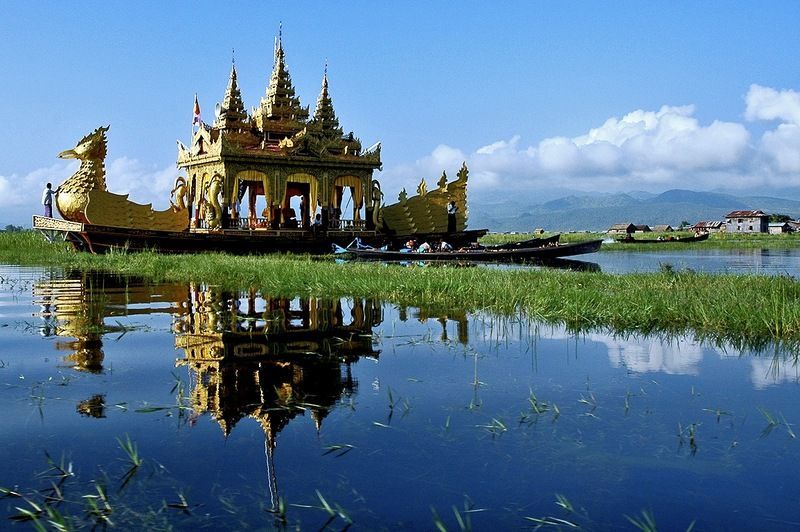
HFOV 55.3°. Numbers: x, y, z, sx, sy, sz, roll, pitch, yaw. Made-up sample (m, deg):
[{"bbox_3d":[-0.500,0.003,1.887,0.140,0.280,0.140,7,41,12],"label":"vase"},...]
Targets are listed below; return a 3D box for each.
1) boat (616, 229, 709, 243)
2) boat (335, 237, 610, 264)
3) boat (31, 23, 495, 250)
[{"bbox_3d":[22.450,-2.283,64.819,5.850,0.819,11.573,4,8,30],"label":"boat"},{"bbox_3d":[2.622,-0.633,31.478,8.471,0.921,1.455,1,-7,-1],"label":"boat"},{"bbox_3d":[-7.684,-5.630,33.730,15.486,10.050,10.190,-6,9,-39],"label":"boat"}]
